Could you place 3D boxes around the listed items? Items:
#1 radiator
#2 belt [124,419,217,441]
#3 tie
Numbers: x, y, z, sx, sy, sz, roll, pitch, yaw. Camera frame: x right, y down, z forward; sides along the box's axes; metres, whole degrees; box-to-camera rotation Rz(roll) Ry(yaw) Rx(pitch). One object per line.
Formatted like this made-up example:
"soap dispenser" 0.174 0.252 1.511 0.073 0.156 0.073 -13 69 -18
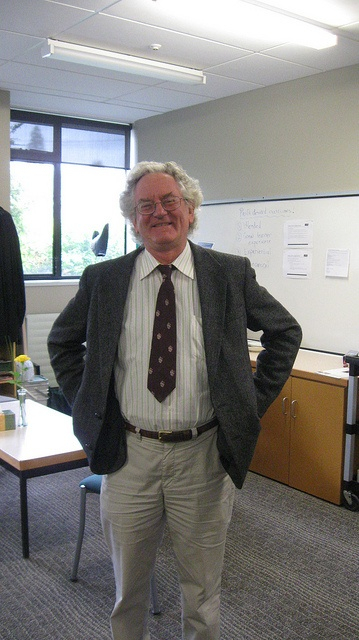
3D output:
"radiator" -1.517 0.241 4.933 0.073 1.057 0.526 0 -3 38
"belt" -0.003 0.254 1.006 0.194 0.038 0.060 0 8 -10
"tie" -0.035 0.037 0.996 0.062 0.273 0.111 2 7 6
